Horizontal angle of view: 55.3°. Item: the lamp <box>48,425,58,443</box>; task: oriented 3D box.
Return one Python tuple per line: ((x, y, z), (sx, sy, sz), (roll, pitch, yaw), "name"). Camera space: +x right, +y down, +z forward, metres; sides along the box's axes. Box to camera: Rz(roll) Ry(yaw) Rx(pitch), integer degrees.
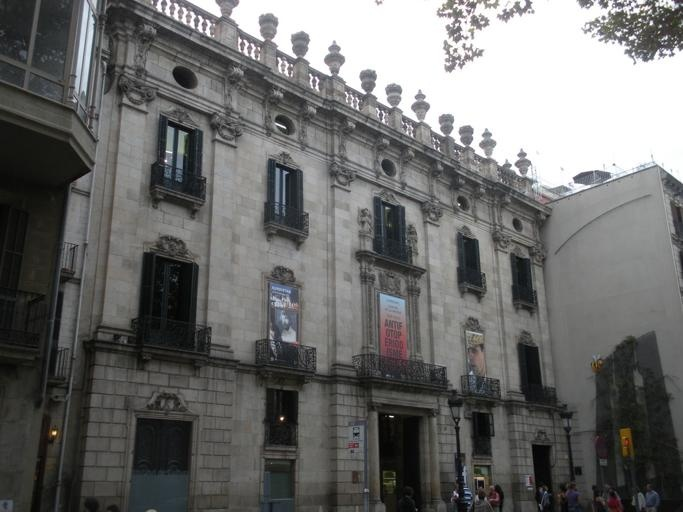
((-9.535, 5.958, 21.656), (0.306, 0.548, 0.175), (11, -26, -24), "lamp")
